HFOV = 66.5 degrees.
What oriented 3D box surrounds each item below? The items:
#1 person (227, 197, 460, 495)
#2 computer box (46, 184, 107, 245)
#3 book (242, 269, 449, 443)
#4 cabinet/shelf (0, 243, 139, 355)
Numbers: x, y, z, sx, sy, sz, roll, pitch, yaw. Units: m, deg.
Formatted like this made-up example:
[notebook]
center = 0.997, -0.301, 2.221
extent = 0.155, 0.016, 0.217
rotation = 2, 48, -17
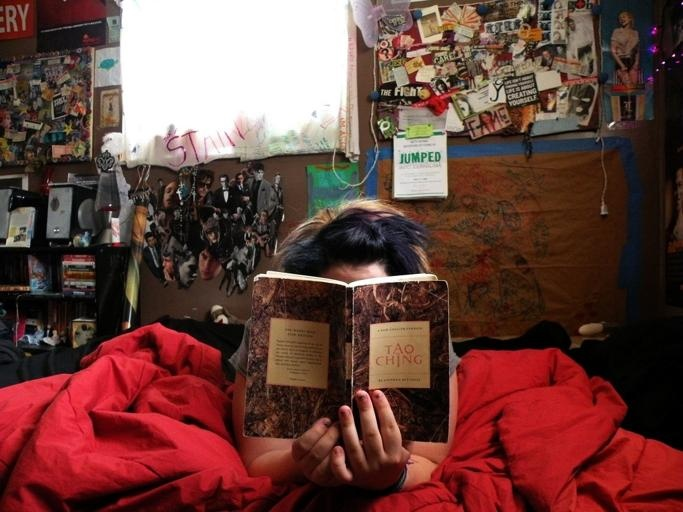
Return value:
[person]
center = 0.040, 0.314, 1.731
extent = 0.629, 0.921, 0.213
rotation = 1, -18, 5
[computer box]
center = -1.647, -0.247, 3.264
extent = 0.191, 0.335, 0.321
rotation = -1, -3, 23
[book]
center = 0.023, 0.315, 1.569
extent = 0.653, 0.499, 0.160
rotation = 1, -1, 5
[cabinet/shelf]
center = -1.550, 0.239, 3.010
extent = 0.572, 0.573, 0.219
rotation = 4, 3, 18
